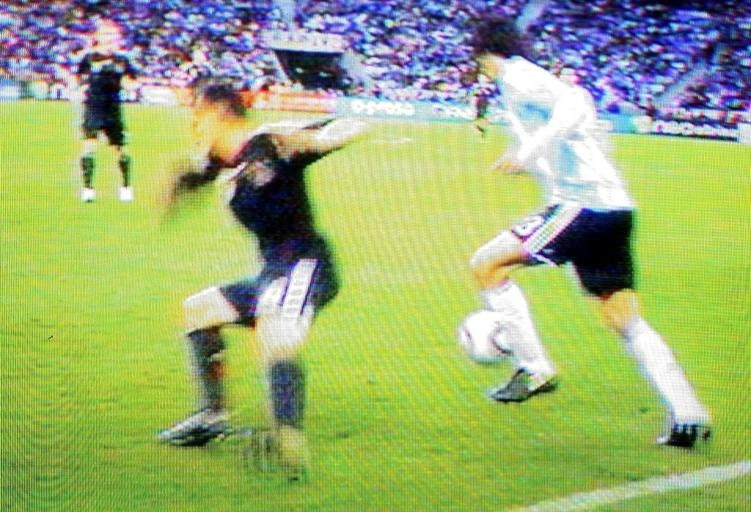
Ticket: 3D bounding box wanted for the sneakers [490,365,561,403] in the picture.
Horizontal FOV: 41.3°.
[{"bbox_3d":[0.914,0.812,6.372,0.520,0.185,0.170,-14,1,-4],"label":"sneakers"}]
